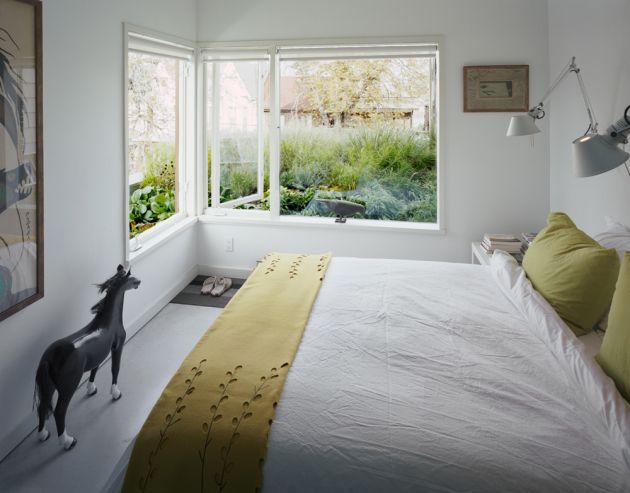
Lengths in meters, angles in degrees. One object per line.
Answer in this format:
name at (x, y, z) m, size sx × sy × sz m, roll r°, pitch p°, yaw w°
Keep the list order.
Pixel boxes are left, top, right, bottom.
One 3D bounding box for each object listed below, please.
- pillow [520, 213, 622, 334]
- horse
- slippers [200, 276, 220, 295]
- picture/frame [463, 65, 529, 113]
pillow at (1.390, 0.121, 2.266) m, size 0.277 × 0.489 × 0.771 m, roll 8°, pitch 19°, yaw 8°
horse at (-1.251, 0.595, 2.308) m, size 0.196 × 0.744 × 0.832 m, roll 9°, pitch 13°, yaw 6°
slippers at (-1.043, 0.380, 4.040) m, size 0.075 × 0.103 × 0.232 m, roll 11°, pitch 11°, yaw -7°
picture/frame at (1.625, -1.429, 3.638) m, size 0.591 × 0.507 × 0.047 m, roll 0°, pitch 9°, yaw 8°
